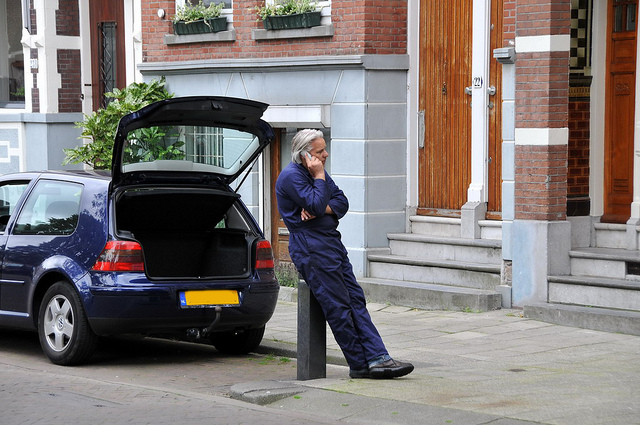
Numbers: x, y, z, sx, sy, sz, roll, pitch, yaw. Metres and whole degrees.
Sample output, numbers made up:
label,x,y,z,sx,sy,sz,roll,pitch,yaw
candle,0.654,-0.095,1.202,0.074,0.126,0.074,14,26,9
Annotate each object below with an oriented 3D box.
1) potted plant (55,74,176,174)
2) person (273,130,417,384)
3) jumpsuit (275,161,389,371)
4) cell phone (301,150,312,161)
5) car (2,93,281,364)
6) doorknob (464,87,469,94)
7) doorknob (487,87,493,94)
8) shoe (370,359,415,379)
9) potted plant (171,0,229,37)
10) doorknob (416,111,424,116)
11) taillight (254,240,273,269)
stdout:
label,x,y,z,sx,sy,sz,roll,pitch,yaw
potted plant,-3.978,-1.347,14.365,2.092,2.323,1.838,-1,-14,2
person,0.130,0.428,7.395,1.147,2.470,0.452,1,4,-3
jumpsuit,0.130,0.473,7.667,0.995,2.116,0.997,0,1,30
cell phone,-0.136,-0.566,7.383,0.064,0.087,0.023,-4,13,21
car,-2.102,0.170,8.681,3.217,2.966,1.440,1,4,-3
doorknob,2.295,-1.906,11.689,0.121,0.114,0.031,6,2,12
doorknob,2.582,-1.850,11.367,0.103,0.101,0.024,2,-1,33
shoe,0.698,1.528,7.337,0.479,0.214,0.164,-3,-6,-2
potted plant,-2.265,-3.604,14.186,1.264,0.482,0.626,-3,14,44
doorknob,1.652,-1.612,12.293,0.114,0.053,0.029,3,4,25
taillight,-0.676,0.502,8.873,0.133,0.329,0.302,3,5,34
